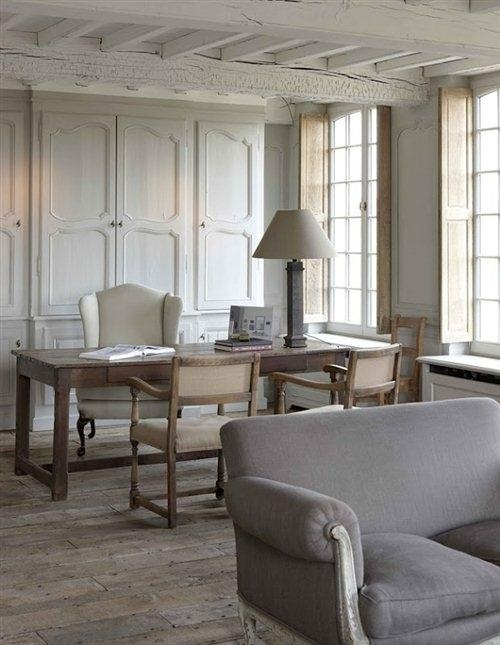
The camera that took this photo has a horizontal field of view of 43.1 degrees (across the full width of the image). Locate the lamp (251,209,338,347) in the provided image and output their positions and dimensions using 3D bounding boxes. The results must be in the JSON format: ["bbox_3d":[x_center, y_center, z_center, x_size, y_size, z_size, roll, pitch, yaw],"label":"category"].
[{"bbox_3d":[0.373,-0.295,4.399,0.515,0.934,0.840,1,-1,21],"label":"lamp"}]
